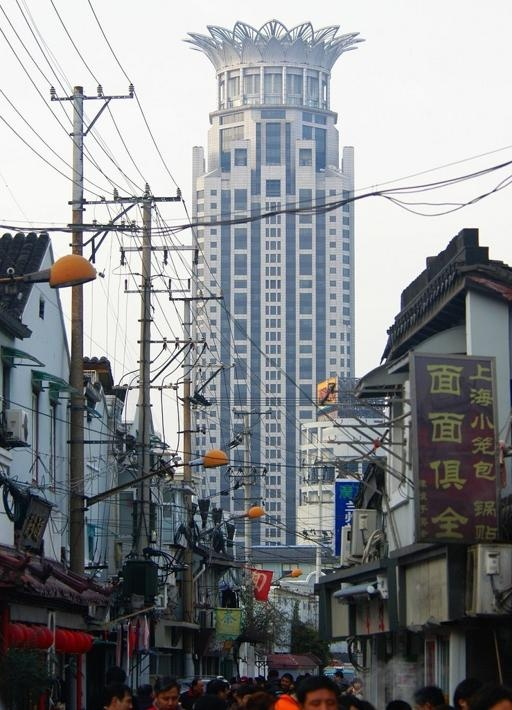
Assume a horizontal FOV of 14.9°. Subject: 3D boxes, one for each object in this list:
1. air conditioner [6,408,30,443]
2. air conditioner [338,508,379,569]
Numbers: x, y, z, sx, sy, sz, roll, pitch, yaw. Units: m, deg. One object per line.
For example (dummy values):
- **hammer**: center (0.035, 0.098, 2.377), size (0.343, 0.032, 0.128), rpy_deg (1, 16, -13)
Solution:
- **air conditioner**: center (-4.658, 1.451, 37.359), size (0.399, 0.865, 0.831), rpy_deg (0, -4, -1)
- **air conditioner**: center (2.264, 4.125, 43.716), size (0.671, 1.376, 0.801), rpy_deg (-2, -11, 5)
